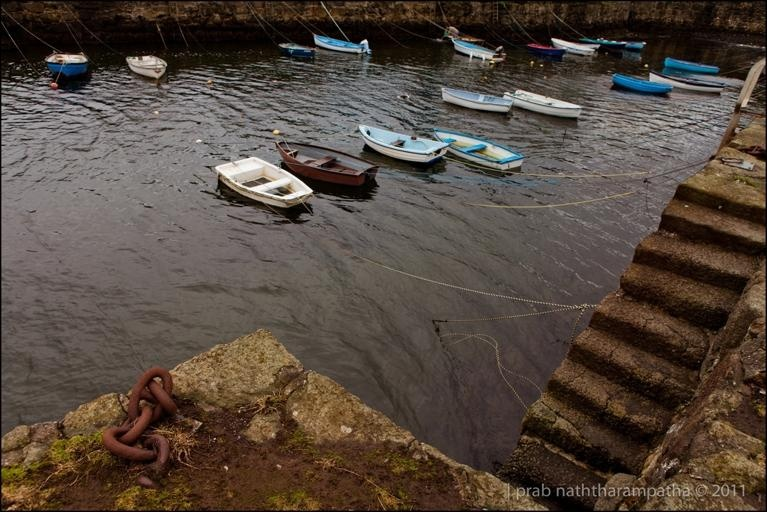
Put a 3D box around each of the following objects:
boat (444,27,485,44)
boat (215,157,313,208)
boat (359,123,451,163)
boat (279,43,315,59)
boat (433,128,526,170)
[{"bbox_3d":[6.482,-18.545,48.445,3.524,0.812,1.903,23,44,12],"label":"boat"},{"bbox_3d":[-4.518,-2.799,22.070,3.670,0.670,2.077,27,40,23],"label":"boat"},{"bbox_3d":[0.424,-4.720,26.167,4.790,1.195,1.649,17,48,24],"label":"boat"},{"bbox_3d":[-6.106,-14.284,39.889,2.297,0.577,1.354,18,41,17],"label":"boat"},{"bbox_3d":[4.163,-4.917,26.378,4.528,0.680,1.768,26,44,30],"label":"boat"}]
